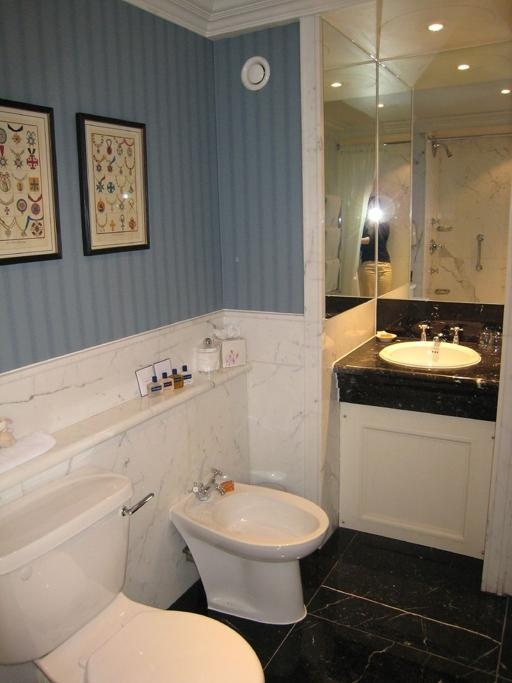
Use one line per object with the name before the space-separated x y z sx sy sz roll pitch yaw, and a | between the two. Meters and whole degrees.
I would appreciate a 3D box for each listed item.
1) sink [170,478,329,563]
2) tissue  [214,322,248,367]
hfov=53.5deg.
sink | 0.014 0.651 1.875 0.390 0.096 0.274 6 14 24
tissue  | -0.107 0.018 2.297 0.121 0.166 0.095 -7 29 -13
